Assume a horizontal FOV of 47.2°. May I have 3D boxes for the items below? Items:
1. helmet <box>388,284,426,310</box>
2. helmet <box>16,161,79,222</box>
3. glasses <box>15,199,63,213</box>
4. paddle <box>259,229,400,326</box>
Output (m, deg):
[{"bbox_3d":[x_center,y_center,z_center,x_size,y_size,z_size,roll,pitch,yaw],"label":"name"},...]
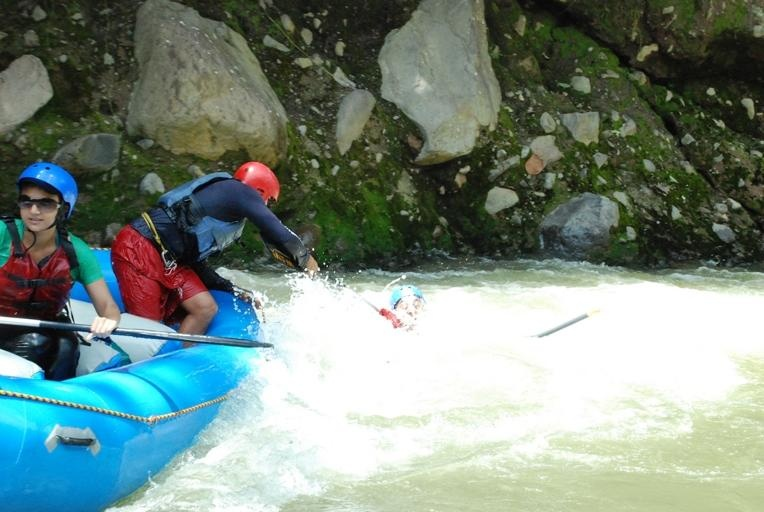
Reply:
[{"bbox_3d":[0.253,0.407,9.300,0.252,0.288,0.263,10,-7,7],"label":"helmet"},{"bbox_3d":[-2.818,-0.579,7.398,0.421,0.522,0.408,11,13,-1],"label":"helmet"},{"bbox_3d":[-2.824,-0.418,7.202,0.281,0.114,0.054,-7,3,-15],"label":"glasses"},{"bbox_3d":[-0.391,0.265,9.189,1.224,1.243,0.322,-29,-22,-29],"label":"paddle"}]
